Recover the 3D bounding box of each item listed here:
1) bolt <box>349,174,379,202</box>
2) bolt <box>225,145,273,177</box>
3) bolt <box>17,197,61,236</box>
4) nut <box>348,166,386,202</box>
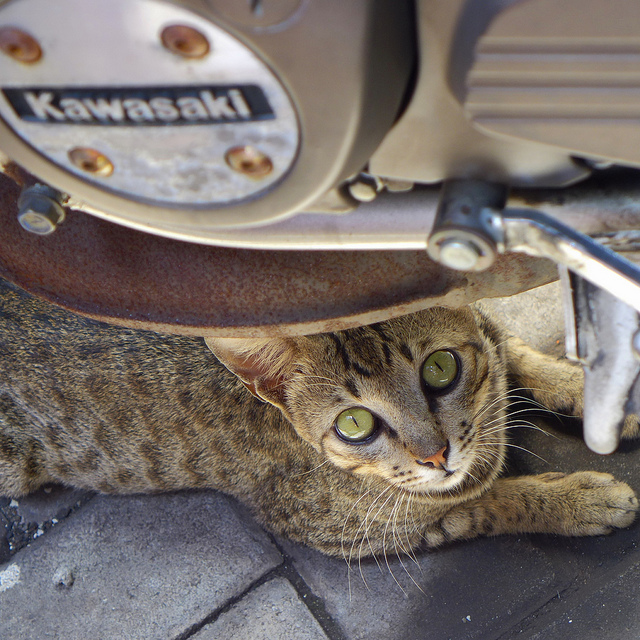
[{"bbox_3d":[0.068,-0.209,1.229,0.046,0.053,0.024,-6,42,4],"label":"bolt"},{"bbox_3d":[-0.104,-0.230,1.120,0.070,0.050,0.007,7,46,19],"label":"bolt"},{"bbox_3d":[-0.484,-0.179,1.374,0.071,0.064,0.066,19,26,-14],"label":"bolt"},{"bbox_3d":[0.073,-0.214,1.221,0.049,0.050,0.022,15,6,17],"label":"nut"}]
